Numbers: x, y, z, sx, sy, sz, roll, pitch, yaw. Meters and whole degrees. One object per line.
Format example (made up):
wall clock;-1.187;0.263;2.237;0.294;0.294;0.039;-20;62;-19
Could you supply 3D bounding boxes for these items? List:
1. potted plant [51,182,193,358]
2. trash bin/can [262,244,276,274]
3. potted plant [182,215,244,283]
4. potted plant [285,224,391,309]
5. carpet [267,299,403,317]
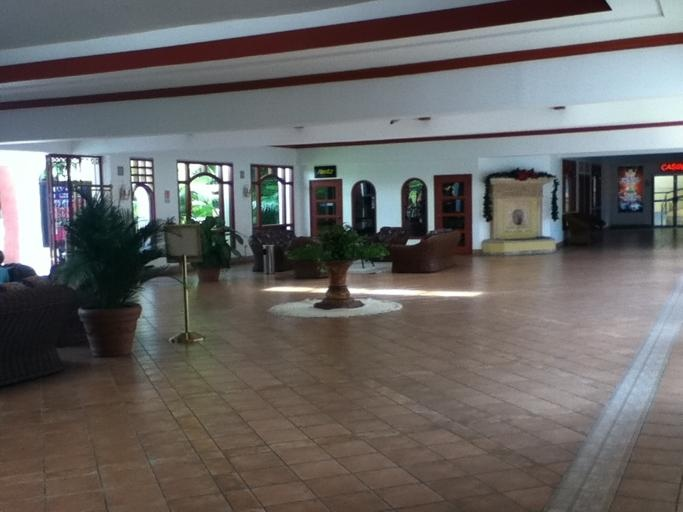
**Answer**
potted plant;-2.874;0.212;5.831;1.123;2.111;0.536;-5;6;-30
trash bin/can;-1.996;0.103;13.206;0.352;0.811;0.324;-4;5;-19
potted plant;-3.402;-0.167;12.591;1.299;1.712;1.739;-2;4;12
potted plant;-0.001;0.178;8.368;1.563;1.468;0.735;-2;5;5
carpet;-0.101;0.920;8.309;2.322;0.103;1.267;-2;5;5
